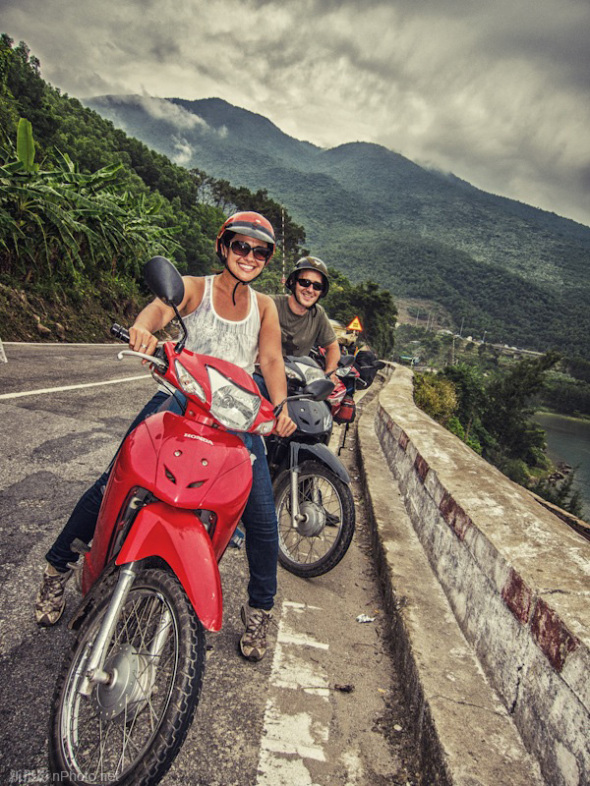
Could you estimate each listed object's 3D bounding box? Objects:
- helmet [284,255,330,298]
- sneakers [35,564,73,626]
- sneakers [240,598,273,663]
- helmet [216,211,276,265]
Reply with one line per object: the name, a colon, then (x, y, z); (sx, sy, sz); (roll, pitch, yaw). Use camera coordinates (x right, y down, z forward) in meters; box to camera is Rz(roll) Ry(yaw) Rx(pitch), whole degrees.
helmet: (0.077, -0.916, 4.123); (0.256, 0.355, 0.345); (5, 8, -11)
sneakers: (-0.998, 0.823, 2.192); (0.097, 0.132, 0.303); (17, 23, -23)
sneakers: (-0.179, 1.047, 2.287); (0.085, 0.118, 0.257); (33, 11, -27)
helmet: (-0.213, -0.696, 2.247); (0.176, 0.147, 0.268); (13, 19, -24)
